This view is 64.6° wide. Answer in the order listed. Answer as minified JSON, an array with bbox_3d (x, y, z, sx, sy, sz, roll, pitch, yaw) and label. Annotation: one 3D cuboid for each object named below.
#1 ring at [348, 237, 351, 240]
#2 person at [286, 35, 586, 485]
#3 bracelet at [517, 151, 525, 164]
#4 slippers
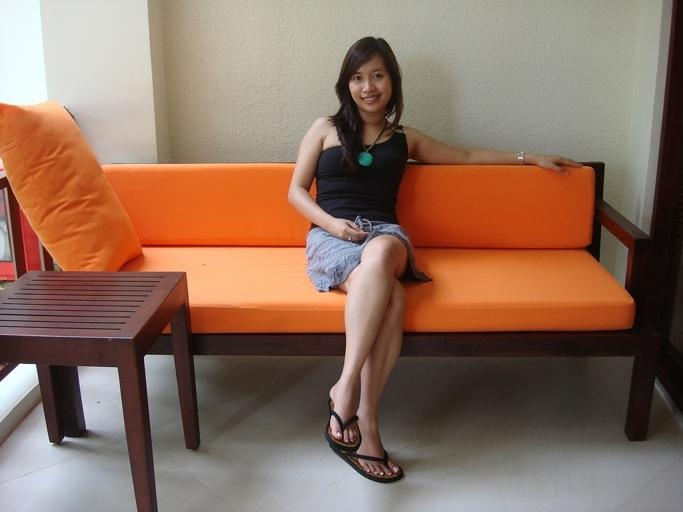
[{"bbox_3d":[0.031,-0.073,2.145,0.015,0.011,0.003,3,4,9],"label":"ring"},{"bbox_3d":[0.293,-0.090,2.192,0.958,1.540,1.009,2,6,13],"label":"person"},{"bbox_3d":[0.818,-0.459,2.486,0.032,0.052,0.046,0,-8,14],"label":"bracelet"},{"bbox_3d":[0.044,0.656,1.917,0.148,0.110,0.389,-19,39,-32],"label":"slippers"}]
